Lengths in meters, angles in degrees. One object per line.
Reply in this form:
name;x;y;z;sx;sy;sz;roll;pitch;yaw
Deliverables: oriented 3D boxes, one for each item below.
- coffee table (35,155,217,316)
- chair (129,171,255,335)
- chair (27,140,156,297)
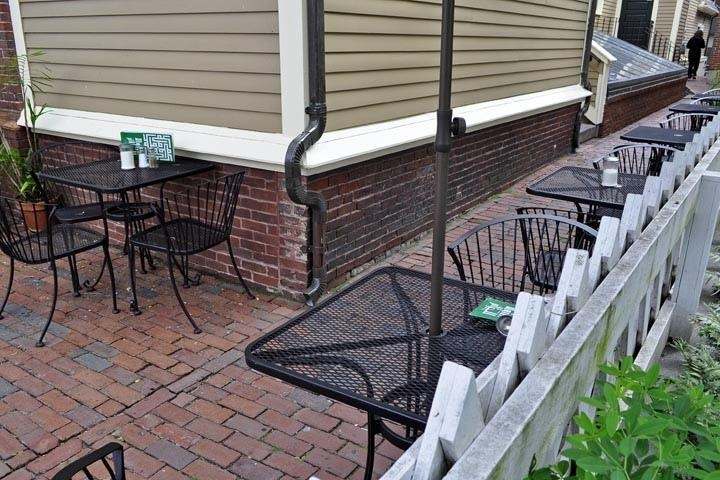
coffee table;-2.037;-0.203;4.896;1.031;0.581;0.996;18;29;28
chair;-1.536;0.014;4.772;0.972;1.184;0.940;12;21;31
chair;-2.495;-0.175;5.065;0.983;1.267;1.148;23;34;29
